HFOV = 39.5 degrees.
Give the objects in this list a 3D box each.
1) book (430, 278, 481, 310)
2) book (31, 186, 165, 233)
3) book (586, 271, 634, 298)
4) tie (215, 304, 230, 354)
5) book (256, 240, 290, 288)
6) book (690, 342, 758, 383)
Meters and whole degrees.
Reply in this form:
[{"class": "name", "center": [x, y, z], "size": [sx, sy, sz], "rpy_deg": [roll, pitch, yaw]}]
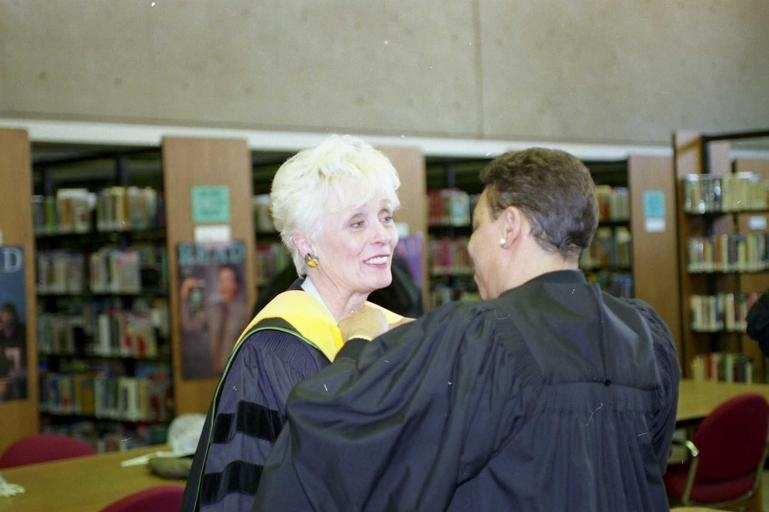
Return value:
[{"class": "book", "center": [0.619, 0.293, 9.531], "size": [0.332, 0.417, 0.249], "rpy_deg": [0, -1, -32]}, {"class": "book", "center": [-1.880, -0.290, 6.941], "size": [0.810, 0.238, 0.690], "rpy_deg": [-4, -5, -16]}, {"class": "book", "center": [1.716, 0.207, 7.995], "size": [0.269, 0.198, 0.295], "rpy_deg": [1, 3, 27]}, {"class": "tie", "center": [-1.249, 0.540, 8.201], "size": [0.067, 0.433, 0.102], "rpy_deg": [1, -9, 5]}, {"class": "book", "center": [-0.930, 0.050, 8.890], "size": [0.245, 0.431, 0.368], "rpy_deg": [-1, -1, 34]}, {"class": "book", "center": [2.563, 0.840, 8.130], "size": [0.281, 0.364, 0.233], "rpy_deg": [0, -2, -14]}]
